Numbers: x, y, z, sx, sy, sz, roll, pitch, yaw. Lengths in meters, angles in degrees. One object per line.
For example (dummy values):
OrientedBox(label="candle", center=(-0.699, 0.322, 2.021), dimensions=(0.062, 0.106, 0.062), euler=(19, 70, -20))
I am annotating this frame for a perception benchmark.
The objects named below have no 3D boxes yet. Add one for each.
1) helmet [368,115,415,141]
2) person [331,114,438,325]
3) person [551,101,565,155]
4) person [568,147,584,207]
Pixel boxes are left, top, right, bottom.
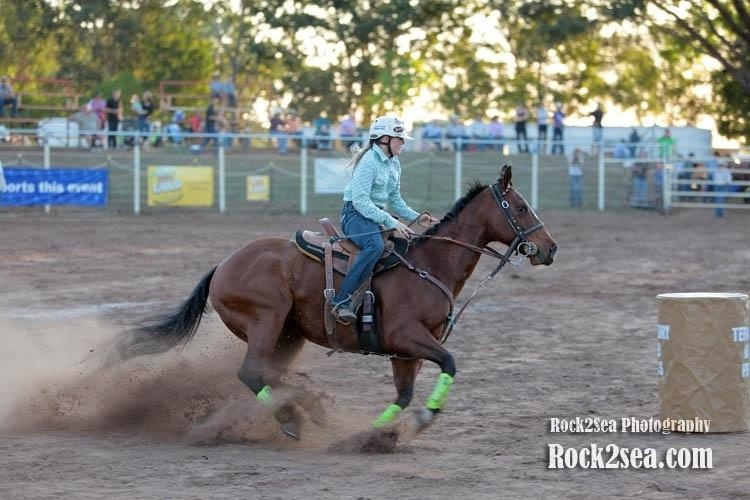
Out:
OrientedBox(label="helmet", center=(0.308, -2.459, 31.960), dimensions=(0.708, 0.331, 0.482), euler=(0, 6, 4))
OrientedBox(label="person", center=(-0.019, -0.611, 31.923), dimensions=(1.671, 4.158, 0.912), euler=(-1, 3, -5))
OrientedBox(label="person", center=(5.800, -3.806, 49.602), dimensions=(0.390, 1.615, 1.431), euler=(0, 3, 6))
OrientedBox(label="person", center=(6.261, -2.191, 48.869), dimensions=(0.415, 1.799, 0.731), euler=(0, 3, 3))
